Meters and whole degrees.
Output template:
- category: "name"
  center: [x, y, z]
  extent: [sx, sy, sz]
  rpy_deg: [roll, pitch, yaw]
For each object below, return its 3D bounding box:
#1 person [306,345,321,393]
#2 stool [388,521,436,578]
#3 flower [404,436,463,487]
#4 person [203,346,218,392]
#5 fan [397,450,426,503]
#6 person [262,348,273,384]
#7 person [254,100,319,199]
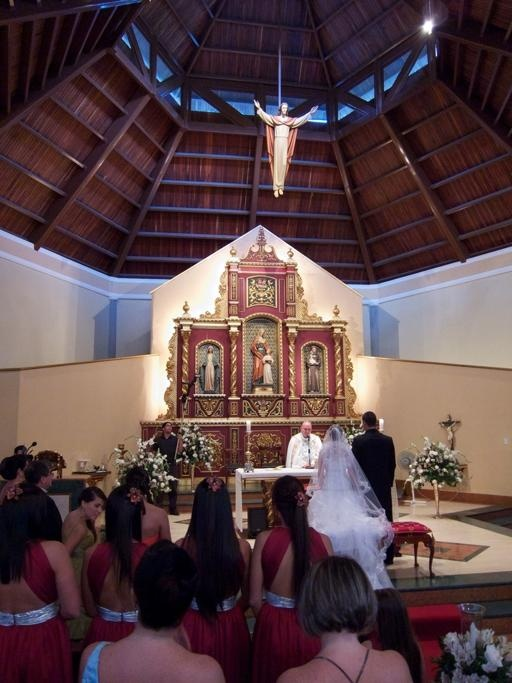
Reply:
- category: "person"
  center: [1.215, 0.573, 11.387]
  extent: [0.324, 1.000, 0.180]
  rpy_deg: [1, -9, 3]
- category: "stool"
  center: [1.366, 1.970, 5.212]
  extent: [0.542, 0.430, 0.533]
  rpy_deg: [6, -18, -9]
- category: "flower"
  center: [2.640, 1.805, 7.867]
  extent: [0.578, 0.585, 0.574]
  rpy_deg: [12, 1, 38]
- category: "person"
  center: [-0.892, 0.550, 10.951]
  extent: [0.303, 0.991, 0.264]
  rpy_deg: [5, -10, -22]
- category: "fan"
  center: [2.699, 2.345, 9.487]
  extent: [0.384, 0.947, 0.334]
  rpy_deg: [5, -17, -13]
- category: "person"
  center: [0.264, 0.527, 11.170]
  extent: [0.148, 0.755, 0.334]
  rpy_deg: [-5, -11, 34]
- category: "person"
  center: [0.547, -3.960, 10.779]
  extent: [1.037, 2.026, 1.016]
  rpy_deg: [-4, -10, 30]
